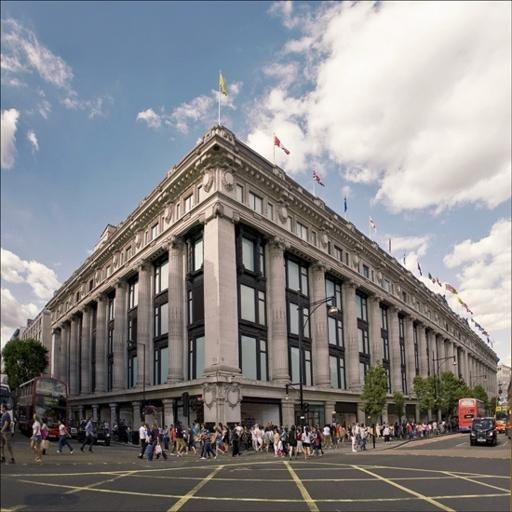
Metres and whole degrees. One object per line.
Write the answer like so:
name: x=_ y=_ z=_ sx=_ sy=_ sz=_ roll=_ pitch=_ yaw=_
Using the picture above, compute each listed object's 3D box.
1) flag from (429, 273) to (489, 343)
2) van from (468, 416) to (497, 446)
flag: x=29.658 y=9.832 z=85.244 sx=6.988 sy=12.751 sz=6.495 roll=14 pitch=-20 yaw=-37
van: x=14.697 y=11.477 z=35.765 sx=1.140 sy=1.372 sz=2.514 roll=-6 pitch=-43 yaw=12
